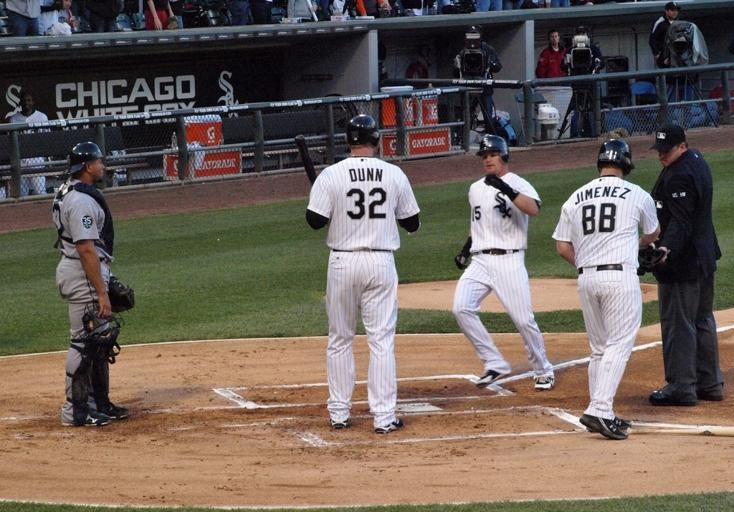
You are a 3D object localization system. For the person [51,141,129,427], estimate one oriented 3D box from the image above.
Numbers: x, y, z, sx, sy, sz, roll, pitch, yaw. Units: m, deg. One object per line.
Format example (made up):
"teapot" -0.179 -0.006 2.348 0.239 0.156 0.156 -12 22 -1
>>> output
"person" -2.965 0.305 15.661 0.760 2.990 0.488 -4 7 -11

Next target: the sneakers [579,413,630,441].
"sneakers" 2.428 1.748 15.177 0.589 0.270 0.207 10 20 -6

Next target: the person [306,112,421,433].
"person" -0.044 0.193 15.458 1.114 3.290 0.632 -3 7 -3

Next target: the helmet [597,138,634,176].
"helmet" 2.612 -1.077 15.583 0.320 0.325 0.416 1 30 -17

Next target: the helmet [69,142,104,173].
"helmet" -3.029 -1.077 15.699 0.370 0.252 0.285 -24 15 -9

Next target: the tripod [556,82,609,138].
"tripod" 4.335 -3.012 30.401 1.099 1.466 1.150 6 12 12

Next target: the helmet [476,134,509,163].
"helmet" 1.461 -1.228 16.429 0.423 0.307 0.366 -6 5 -16

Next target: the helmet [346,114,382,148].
"helmet" -0.063 -1.314 15.582 0.328 0.285 0.331 2 32 2

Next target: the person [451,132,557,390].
"person" 1.492 0.075 16.342 1.078 2.795 0.799 -2 7 5

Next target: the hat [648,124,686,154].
"hat" 3.246 -1.245 15.745 0.362 0.200 0.246 -23 26 -27

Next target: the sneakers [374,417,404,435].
"sneakers" 0.246 1.803 15.396 0.123 0.152 0.346 5 13 38

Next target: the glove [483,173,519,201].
"glove" 1.444 -0.730 15.890 0.355 0.231 0.147 26 51 -2

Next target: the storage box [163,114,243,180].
"storage box" -3.010 -1.940 26.438 1.194 0.962 0.440 -5 10 -35

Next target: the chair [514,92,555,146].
"chair" 3.582 -2.834 30.101 0.794 1.096 1.036 -3 5 -29

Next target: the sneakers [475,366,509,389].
"sneakers" 1.344 1.331 16.243 0.424 0.181 0.150 -17 26 -4
